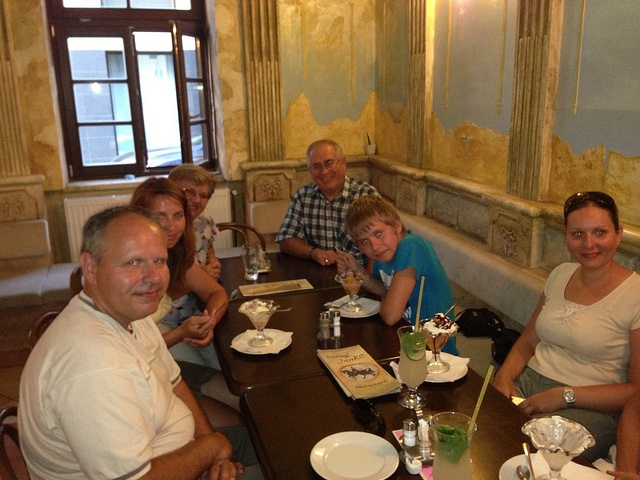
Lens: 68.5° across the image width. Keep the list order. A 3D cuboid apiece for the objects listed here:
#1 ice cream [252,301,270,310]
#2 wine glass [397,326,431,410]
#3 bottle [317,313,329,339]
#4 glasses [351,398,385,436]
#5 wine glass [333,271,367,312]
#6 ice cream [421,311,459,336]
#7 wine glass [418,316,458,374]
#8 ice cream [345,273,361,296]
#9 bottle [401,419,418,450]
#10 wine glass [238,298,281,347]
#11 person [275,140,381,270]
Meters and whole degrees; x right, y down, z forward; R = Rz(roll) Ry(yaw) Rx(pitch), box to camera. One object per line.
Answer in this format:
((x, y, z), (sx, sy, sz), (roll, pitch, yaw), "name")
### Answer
((-0.266, 0.301, 2.171), (0.052, 0.022, 0.052), (7, -1, -5), "ice cream")
((0.352, 0.471, 1.767), (0.117, 0.299, 0.119), (5, 16, 22), "wine glass")
((0.018, 0.419, 2.274), (0.090, 0.106, 0.096), (0, 1, -3), "bottle")
((0.176, 0.630, 1.695), (0.050, 0.065, 0.159), (-8, 12, -14), "glasses")
((0.158, 0.270, 2.513), (0.170, 0.205, 0.185), (-3, 9, -3), "wine glass")
((0.497, 0.326, 1.956), (0.108, 0.068, 0.111), (-2, 2, -13), "ice cream")
((0.489, 0.432, 1.992), (0.189, 0.233, 0.200), (-2, 8, 9), "wine glass")
((0.170, 0.225, 2.444), (0.075, 0.090, 0.079), (-24, 50, -4), "ice cream")
((0.295, 0.637, 1.544), (0.049, 0.092, 0.038), (-2, 14, 8), "bottle")
((-0.280, 0.392, 2.189), (0.169, 0.176, 0.174), (0, 4, 10), "wine glass")
((0.071, -0.279, 3.667), (0.892, 0.936, 0.580), (4, 21, 20), "person")
